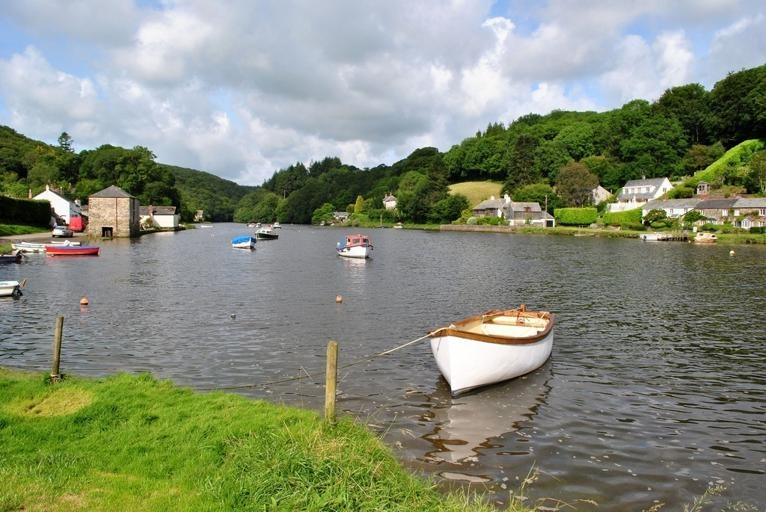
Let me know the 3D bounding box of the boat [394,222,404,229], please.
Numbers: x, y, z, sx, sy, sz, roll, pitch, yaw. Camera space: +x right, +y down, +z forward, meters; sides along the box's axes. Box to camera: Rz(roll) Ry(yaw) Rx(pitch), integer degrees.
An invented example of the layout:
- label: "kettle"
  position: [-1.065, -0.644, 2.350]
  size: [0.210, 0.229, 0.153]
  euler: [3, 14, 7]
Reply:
- label: "boat"
  position: [4.646, -9.614, 200.265]
  size: [1.890, 1.118, 3.054]
  euler: [4, 10, 10]

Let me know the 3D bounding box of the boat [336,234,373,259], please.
- label: "boat"
  position: [-3.626, -1.076, 80.587]
  size: [3.477, 2.617, 6.213]
  euler: [-1, 10, -10]
